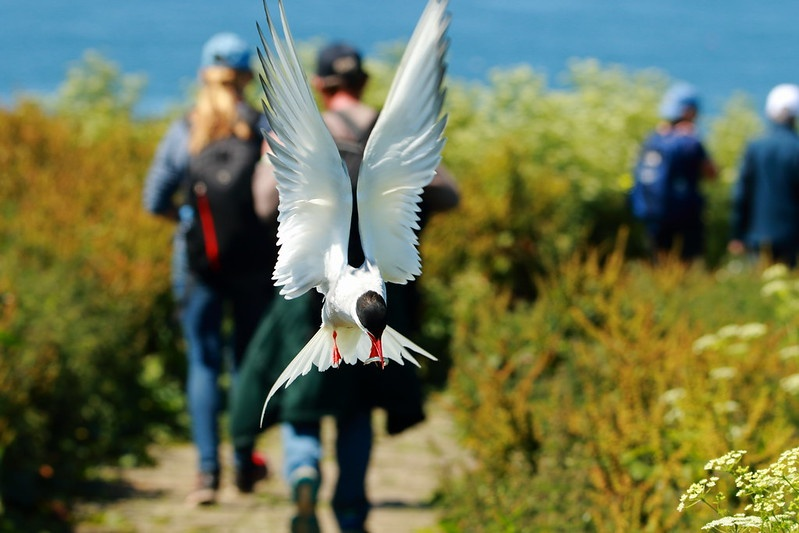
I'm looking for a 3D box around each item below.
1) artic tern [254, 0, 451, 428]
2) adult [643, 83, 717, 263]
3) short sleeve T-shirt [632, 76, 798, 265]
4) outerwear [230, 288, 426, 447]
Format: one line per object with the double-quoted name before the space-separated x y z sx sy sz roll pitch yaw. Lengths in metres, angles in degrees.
"artic tern" -0.258 -0.346 9.598 1.105 2.259 0.754 1 -3 -12
"adult" 1.570 -0.555 9.867 0.416 0.993 0.328 1 -3 -9
"short sleeve T-shirt" 1.772 -0.523 9.966 1.069 1.155 0.368 2 12 -3
"outerwear" -0.442 0.594 9.940 1.007 0.600 0.892 -10 -19 -29
